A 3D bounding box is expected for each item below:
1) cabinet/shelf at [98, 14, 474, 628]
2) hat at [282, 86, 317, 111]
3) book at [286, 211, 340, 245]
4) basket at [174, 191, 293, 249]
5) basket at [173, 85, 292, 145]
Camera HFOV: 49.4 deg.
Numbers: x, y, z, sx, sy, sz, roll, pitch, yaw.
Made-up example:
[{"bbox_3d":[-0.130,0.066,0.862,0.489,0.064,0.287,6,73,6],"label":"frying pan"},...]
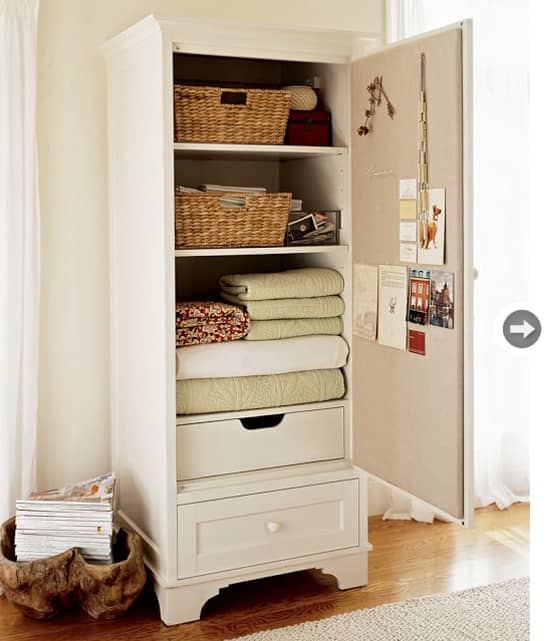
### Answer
[{"bbox_3d":[-0.049,-0.011,1.736,0.826,1.815,1.152,-1,2,-15],"label":"cabinet/shelf"},{"bbox_3d":[0.076,-0.690,1.896,0.085,0.062,0.085,1,4,17],"label":"hat"},{"bbox_3d":[0.126,-0.284,1.909,0.148,0.046,0.109,0,3,35],"label":"book"},{"bbox_3d":[-0.130,-0.280,1.768,0.260,0.119,0.194,-4,12,-20],"label":"basket"},{"bbox_3d":[-0.140,-0.585,1.788,0.282,0.128,0.203,-6,17,-20],"label":"basket"}]
